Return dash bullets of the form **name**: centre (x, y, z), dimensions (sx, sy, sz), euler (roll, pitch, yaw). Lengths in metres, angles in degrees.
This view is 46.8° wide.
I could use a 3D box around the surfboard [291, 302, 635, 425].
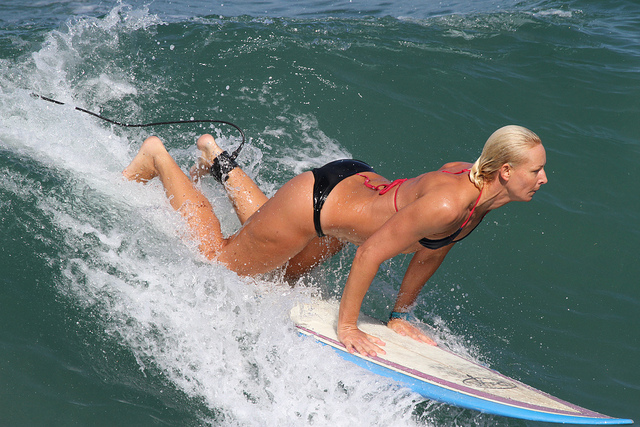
- **surfboard**: centre (1.472, 1.669, 7.971), dimensions (2.736, 0.658, 0.354), euler (17, 107, 26)
